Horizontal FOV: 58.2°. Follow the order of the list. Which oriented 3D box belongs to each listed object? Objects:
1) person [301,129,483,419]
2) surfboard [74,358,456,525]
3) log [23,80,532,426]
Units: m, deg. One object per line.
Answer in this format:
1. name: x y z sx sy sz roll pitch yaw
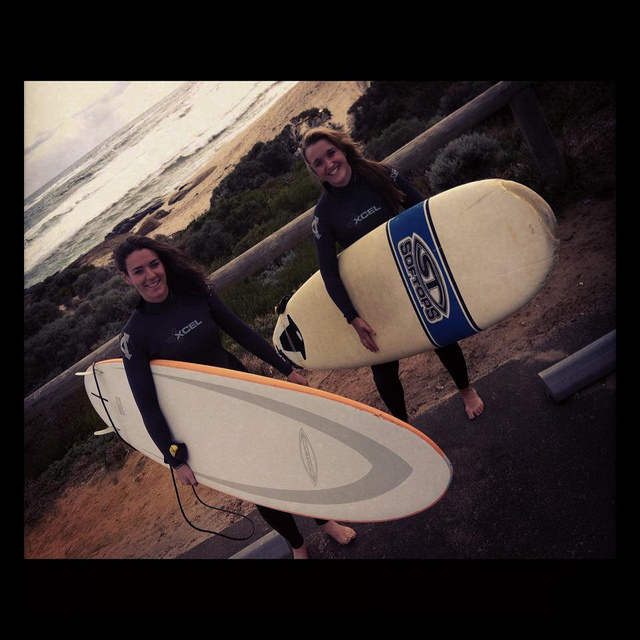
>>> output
1. person: 0.382 -0.035 3.003 0.557 1.942 0.258 -19 7 16
2. surfboard: -0.129 0.468 2.877 2.143 0.753 0.321 11 20 9
3. log: -0.268 -0.335 3.030 2.925 0.416 0.328 -38 12 8
